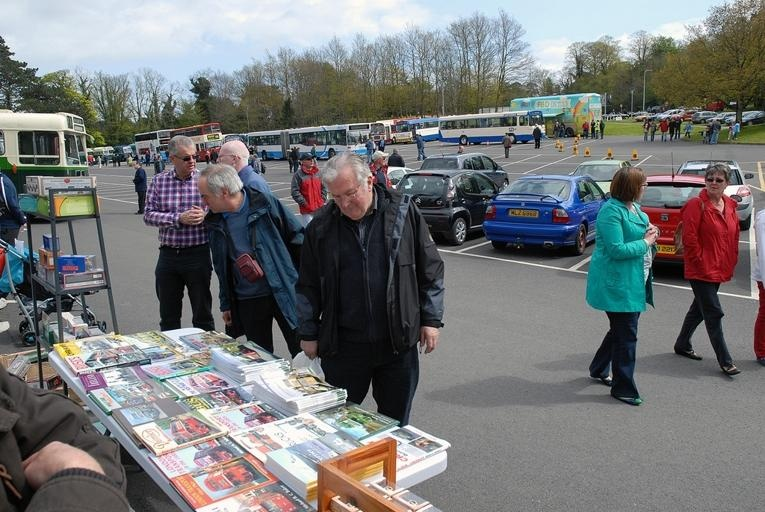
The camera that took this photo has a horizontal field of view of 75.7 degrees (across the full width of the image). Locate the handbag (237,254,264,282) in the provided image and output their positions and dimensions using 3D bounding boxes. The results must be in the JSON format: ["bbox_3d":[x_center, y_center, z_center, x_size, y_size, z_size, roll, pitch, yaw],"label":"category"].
[{"bbox_3d":[-1.296,0.109,4.825,0.144,0.223,0.120,-33,9,11],"label":"handbag"}]

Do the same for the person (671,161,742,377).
[{"bbox_3d":[4.151,0.134,6.270,0.800,2.538,0.781,6,15,31],"label":"person"}]

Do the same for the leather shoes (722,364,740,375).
[{"bbox_3d":[4.306,1.403,6.089,0.237,0.141,0.107,-1,13,3],"label":"leather shoes"}]

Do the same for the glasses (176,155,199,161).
[{"bbox_3d":[-2.352,-1.191,5.984,0.120,0.080,0.347,-2,14,-1],"label":"glasses"}]

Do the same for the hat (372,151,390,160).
[{"bbox_3d":[-0.040,-2.624,13.270,0.464,0.264,0.329,-16,17,-3],"label":"hat"}]

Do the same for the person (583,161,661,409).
[{"bbox_3d":[2.657,0.326,5.540,0.652,2.595,0.561,6,15,30],"label":"person"}]
